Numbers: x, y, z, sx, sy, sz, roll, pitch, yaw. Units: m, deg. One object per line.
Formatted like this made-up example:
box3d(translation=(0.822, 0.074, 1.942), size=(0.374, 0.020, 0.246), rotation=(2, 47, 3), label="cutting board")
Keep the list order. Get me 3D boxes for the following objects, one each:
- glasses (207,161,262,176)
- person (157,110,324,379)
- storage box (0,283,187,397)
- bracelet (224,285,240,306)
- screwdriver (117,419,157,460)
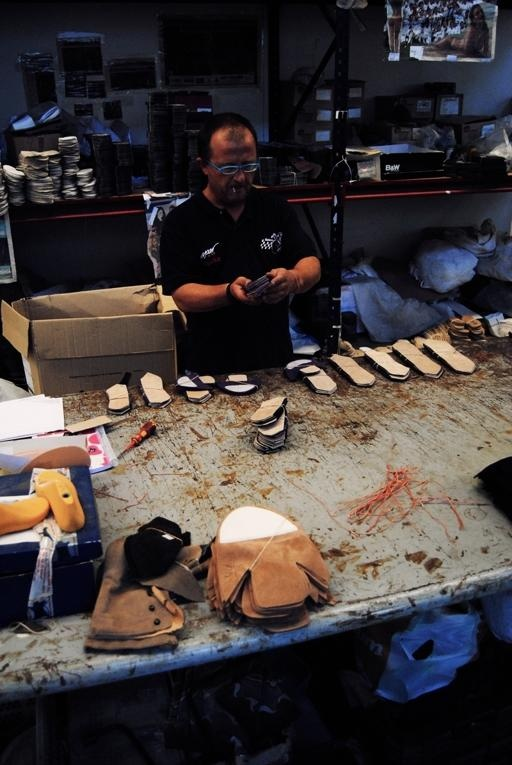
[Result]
box3d(translation=(-0.072, -0.666, 1.732), size=(0.150, 0.041, 0.075), rotation=(-4, 20, -8), label="glasses")
box3d(translation=(-0.039, -0.424, 1.852), size=(0.561, 0.865, 0.503), rotation=(-5, 20, -9), label="person")
box3d(translation=(-0.520, -0.143, 1.906), size=(0.595, 0.310, 0.555), rotation=(-13, 23, -29), label="storage box")
box3d(translation=(-0.076, -0.271, 1.723), size=(0.053, 0.028, 0.067), rotation=(-12, 49, -17), label="bracelet")
box3d(translation=(-0.284, 0.137, 1.367), size=(0.031, 0.026, 0.139), rotation=(14, 30, 26), label="screwdriver")
